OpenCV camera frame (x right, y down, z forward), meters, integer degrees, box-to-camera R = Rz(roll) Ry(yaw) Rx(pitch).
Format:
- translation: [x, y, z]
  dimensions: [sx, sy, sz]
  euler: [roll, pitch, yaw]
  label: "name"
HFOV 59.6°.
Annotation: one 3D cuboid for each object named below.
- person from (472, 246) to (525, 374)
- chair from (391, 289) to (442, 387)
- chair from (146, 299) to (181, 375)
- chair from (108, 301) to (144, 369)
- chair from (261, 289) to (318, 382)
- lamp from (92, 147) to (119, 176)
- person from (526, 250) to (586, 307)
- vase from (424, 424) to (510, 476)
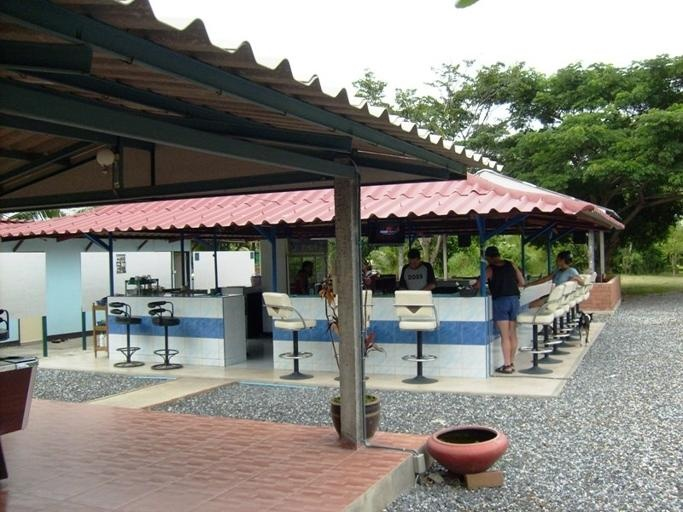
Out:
- translation: [2.958, 0.941, 10.490]
  dimensions: [0.641, 1.968, 0.659]
  euler: [-5, -2, 12]
  label: "person"
- translation: [1.332, 1.338, 10.076]
  dimensions: [0.697, 1.272, 0.964]
  euler: [-5, -2, 7]
  label: "chair"
- translation: [-3.591, 1.573, 12.106]
  dimensions: [0.599, 1.352, 0.958]
  euler: [-4, -2, -17]
  label: "chair"
- translation: [-4.544, 1.613, 12.515]
  dimensions: [0.612, 1.346, 1.146]
  euler: [-4, -2, -21]
  label: "chair"
- translation: [-0.896, 1.409, 10.873]
  dimensions: [0.900, 1.103, 0.979]
  euler: [-4, -2, -4]
  label: "chair"
- translation: [-3.064, -1.178, 7.421]
  dimensions: [0.365, 0.373, 0.345]
  euler: [-3, 6, -34]
  label: "lamp"
- translation: [4.312, 0.433, 11.806]
  dimensions: [0.889, 1.033, 1.320]
  euler: [-5, -2, 17]
  label: "person"
- translation: [1.211, 1.828, 5.954]
  dimensions: [0.639, 0.238, 0.584]
  euler: [-3, -4, -3]
  label: "vase"
